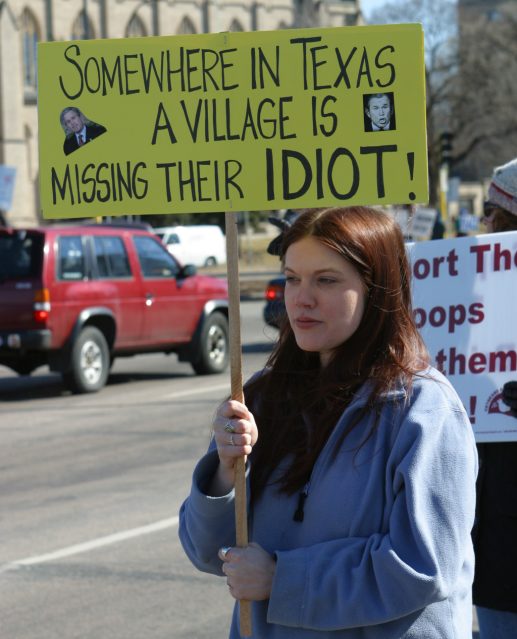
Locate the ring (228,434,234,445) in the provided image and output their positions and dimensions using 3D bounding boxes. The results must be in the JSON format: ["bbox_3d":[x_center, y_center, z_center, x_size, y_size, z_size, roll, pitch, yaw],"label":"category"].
[{"bbox_3d":[-0.059,0.267,2.829,0.011,0.020,0.006,6,6,34],"label":"ring"}]

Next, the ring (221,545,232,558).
[{"bbox_3d":[-0.072,0.525,2.846,0.015,0.024,0.021,-5,0,37],"label":"ring"}]

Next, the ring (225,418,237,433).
[{"bbox_3d":[-0.062,0.236,2.829,0.017,0.029,0.026,2,-17,1],"label":"ring"}]

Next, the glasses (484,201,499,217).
[{"bbox_3d":[0.736,-0.358,3.991,0.028,0.051,0.025,3,-8,21],"label":"glasses"}]
